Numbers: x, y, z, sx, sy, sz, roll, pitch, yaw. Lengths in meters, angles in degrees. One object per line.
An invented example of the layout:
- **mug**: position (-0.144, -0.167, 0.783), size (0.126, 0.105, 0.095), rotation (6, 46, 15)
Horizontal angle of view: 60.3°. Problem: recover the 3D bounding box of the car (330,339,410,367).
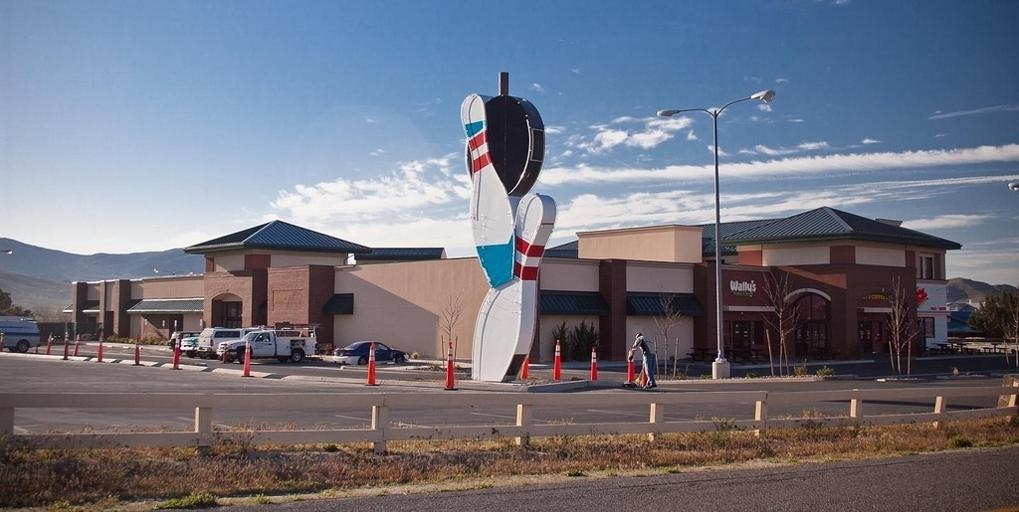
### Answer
- **car**: position (-9.971, 6.876, 62.528), size (2.011, 1.645, 4.956), rotation (2, 3, 44)
